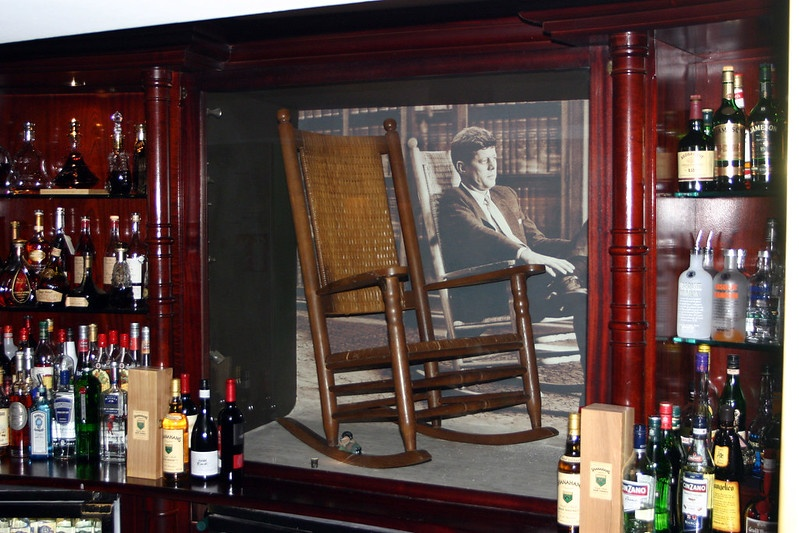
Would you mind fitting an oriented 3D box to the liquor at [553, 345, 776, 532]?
[{"bbox_3d":[0.907,0.582,2.832,0.703,0.534,0.215,1,-2,9],"label":"liquor"}]

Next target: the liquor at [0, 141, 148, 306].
[{"bbox_3d":[-1.334,-0.162,3.506,0.753,0.629,0.237,1,-1,11],"label":"liquor"}]

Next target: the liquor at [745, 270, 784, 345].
[{"bbox_3d":[1.219,0.129,2.807,0.144,0.246,0.093,-3,1,-2],"label":"liquor"}]
